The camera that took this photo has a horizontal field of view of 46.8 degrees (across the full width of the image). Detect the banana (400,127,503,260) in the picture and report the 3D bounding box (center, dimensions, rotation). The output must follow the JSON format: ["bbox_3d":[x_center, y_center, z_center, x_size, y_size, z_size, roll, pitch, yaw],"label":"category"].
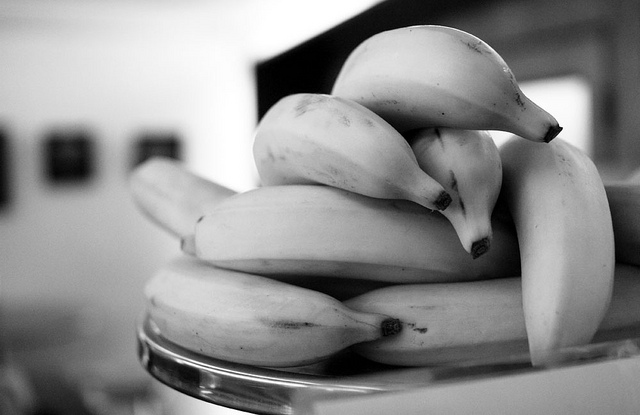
[{"bbox_3d":[0.124,-0.026,0.717,0.070,0.143,0.062,-7,-3,-14],"label":"banana"}]

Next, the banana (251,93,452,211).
[{"bbox_3d":[0.037,-0.054,0.773,0.190,0.099,0.085,21,9,9],"label":"banana"}]

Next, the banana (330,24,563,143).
[{"bbox_3d":[0.109,-0.133,0.775,0.254,0.096,0.089,18,41,20],"label":"banana"}]

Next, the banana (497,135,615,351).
[{"bbox_3d":[0.231,0.028,0.717,0.101,0.188,0.115,-4,14,14],"label":"banana"}]

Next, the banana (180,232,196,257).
[{"bbox_3d":[-0.137,0.038,0.783,0.008,0.025,0.018,-13,-15,-14],"label":"banana"}]
